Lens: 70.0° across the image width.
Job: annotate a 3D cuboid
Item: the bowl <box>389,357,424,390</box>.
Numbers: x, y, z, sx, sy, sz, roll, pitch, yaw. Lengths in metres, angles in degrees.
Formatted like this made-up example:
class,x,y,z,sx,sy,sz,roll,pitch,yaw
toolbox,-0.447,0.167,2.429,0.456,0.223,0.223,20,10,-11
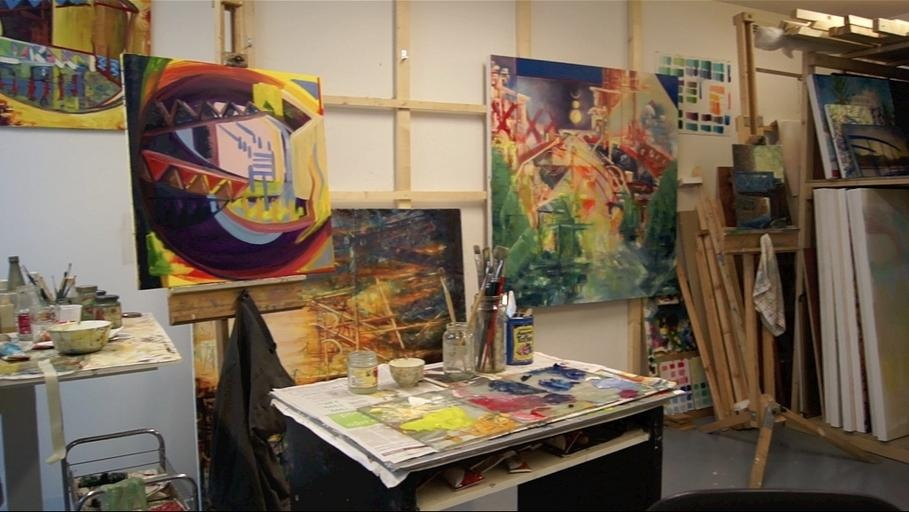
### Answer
class,x,y,z,sx,sy,sz,roll,pitch,yaw
bowl,-0.246,0.611,3.363,0.166,0.090,0.151,-1,-6,0

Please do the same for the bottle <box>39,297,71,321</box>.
class,x,y,z,sx,sy,sz,roll,pitch,yaw
bottle,-2.193,0.304,3.607,0.164,0.097,0.122,4,-5,-43

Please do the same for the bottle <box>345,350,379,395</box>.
class,x,y,z,sx,sy,sz,roll,pitch,yaw
bottle,-0.469,0.622,3.394,0.194,0.176,0.179,-2,-6,6

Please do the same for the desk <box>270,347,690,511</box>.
class,x,y,z,sx,sy,sz,roll,pitch,yaw
desk,0.023,0.830,3.125,1.356,0.593,1.023,-5,7,-36

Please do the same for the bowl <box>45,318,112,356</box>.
class,x,y,z,sx,sy,sz,roll,pitch,yaw
bowl,-1.901,0.410,3.312,0.213,0.091,0.214,-1,-3,0

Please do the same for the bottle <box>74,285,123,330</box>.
class,x,y,z,sx,sy,sz,roll,pitch,yaw
bottle,-2.002,0.277,3.661,0.348,0.256,0.191,4,4,30

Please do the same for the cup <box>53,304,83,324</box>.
class,x,y,z,sx,sy,sz,roll,pitch,yaw
cup,-2.095,0.314,3.541,0.123,0.105,0.117,2,2,0
